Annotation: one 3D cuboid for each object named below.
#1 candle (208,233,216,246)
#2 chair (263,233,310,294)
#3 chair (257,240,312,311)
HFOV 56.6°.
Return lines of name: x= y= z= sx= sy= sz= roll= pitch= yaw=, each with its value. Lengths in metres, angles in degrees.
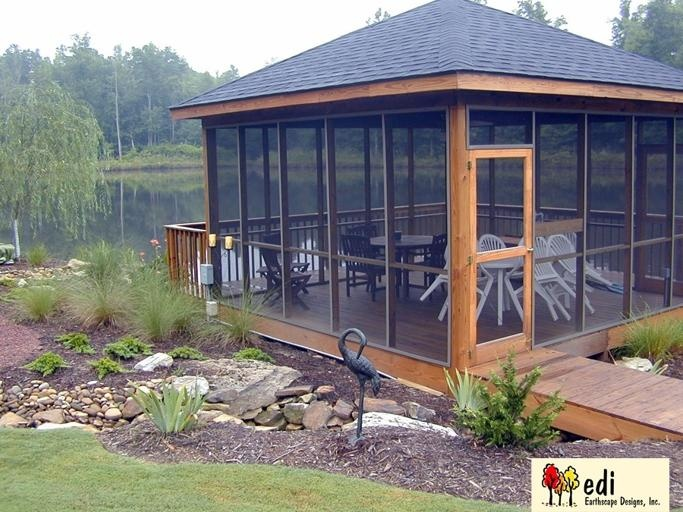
candle: x=-2.036 y=-0.243 z=9.923 sx=0.135 sy=0.211 sz=0.091 roll=1 pitch=3 yaw=-13
chair: x=-0.775 y=0.094 z=10.011 sx=0.729 sy=1.171 sz=0.904 roll=-4 pitch=6 yaw=-38
chair: x=-0.896 y=0.217 z=9.660 sx=0.949 sy=1.280 sz=0.955 roll=1 pitch=6 yaw=4
